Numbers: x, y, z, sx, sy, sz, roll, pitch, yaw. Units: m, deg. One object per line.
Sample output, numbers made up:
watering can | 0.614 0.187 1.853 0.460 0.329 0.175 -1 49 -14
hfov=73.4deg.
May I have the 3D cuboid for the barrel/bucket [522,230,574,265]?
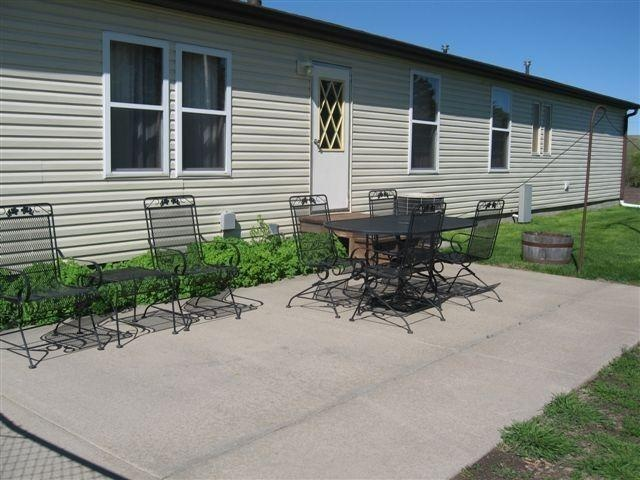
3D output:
barrel/bucket | 4.099 0.130 7.779 0.732 0.381 0.703 0 5 0
